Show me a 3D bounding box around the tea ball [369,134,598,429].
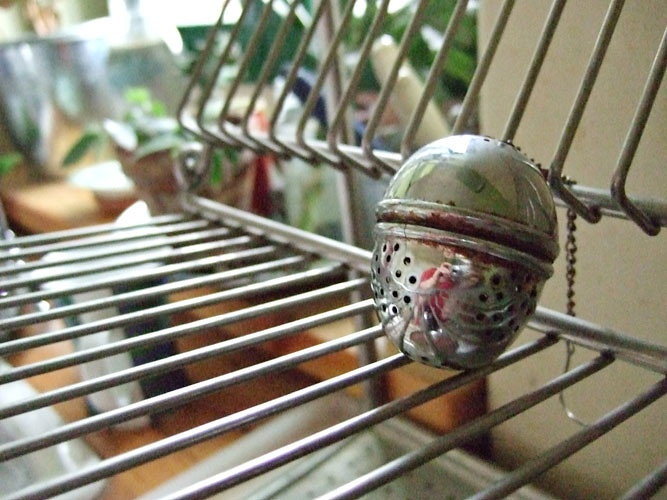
[{"bbox_3d":[0.114,0.003,0.572,0.149,0.206,0.162,13,-2,1],"label":"tea ball"}]
